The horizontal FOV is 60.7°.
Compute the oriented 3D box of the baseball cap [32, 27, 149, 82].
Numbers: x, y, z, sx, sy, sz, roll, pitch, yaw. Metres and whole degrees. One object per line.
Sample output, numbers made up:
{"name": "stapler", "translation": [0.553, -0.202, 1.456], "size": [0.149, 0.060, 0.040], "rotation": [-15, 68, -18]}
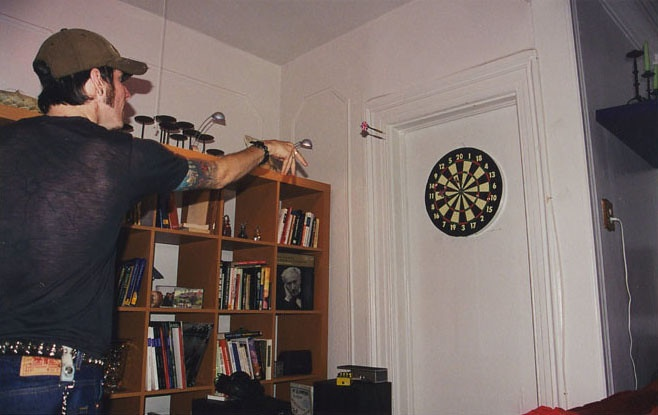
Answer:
{"name": "baseball cap", "translation": [-1.439, -0.944, 3.409], "size": [0.611, 0.281, 0.385], "rotation": [-15, 21, -25]}

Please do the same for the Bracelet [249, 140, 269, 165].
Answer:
{"name": "Bracelet", "translation": [-0.501, -0.399, 4.055], "size": [0.128, 0.173, 0.067], "rotation": [14, 13, 43]}

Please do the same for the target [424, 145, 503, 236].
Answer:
{"name": "target", "translation": [1.096, -0.122, 4.484], "size": [0.595, 0.693, 0.079], "rotation": [-18, -21, 35]}

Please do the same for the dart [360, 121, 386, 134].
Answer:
{"name": "dart", "translation": [0.376, -0.694, 4.853], "size": [0.196, 0.086, 0.047], "rotation": [22, 2, 21]}
